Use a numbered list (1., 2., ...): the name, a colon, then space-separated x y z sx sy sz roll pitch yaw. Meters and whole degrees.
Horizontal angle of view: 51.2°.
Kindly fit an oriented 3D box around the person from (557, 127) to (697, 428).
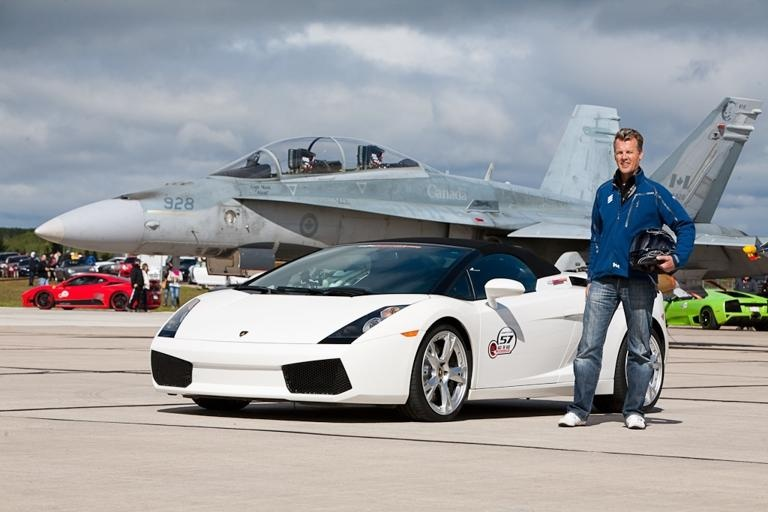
1. person: 2.277 0.208 7.463 1.041 2.766 0.573 3 -2 16

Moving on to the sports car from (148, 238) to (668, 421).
1. sports car: 0.301 0.755 7.910 3.653 1.016 2.469 8 -12 -41

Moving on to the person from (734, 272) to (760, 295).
1. person: 13.218 0.983 29.090 1.079 0.848 0.363 4 5 -9

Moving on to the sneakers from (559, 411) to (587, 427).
1. sneakers: 1.763 1.507 7.429 0.114 0.110 0.309 -12 -17 39

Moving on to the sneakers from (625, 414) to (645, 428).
1. sneakers: 2.318 1.513 7.358 0.186 0.140 0.161 2 -2 20
